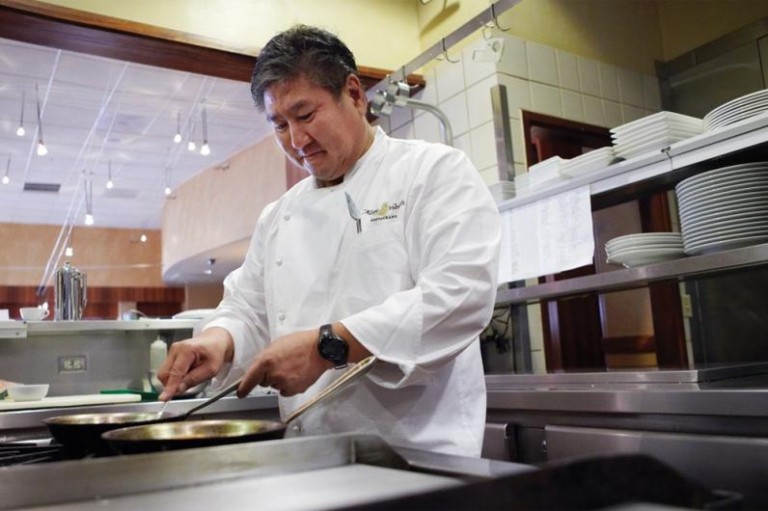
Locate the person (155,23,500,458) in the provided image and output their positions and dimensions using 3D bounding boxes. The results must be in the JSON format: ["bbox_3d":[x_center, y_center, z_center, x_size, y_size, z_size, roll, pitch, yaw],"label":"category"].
[{"bbox_3d":[-0.121,-0.154,1.370,0.820,0.996,0.494,-3,-10,12],"label":"person"}]

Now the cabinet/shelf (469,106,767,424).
[{"bbox_3d":[0.857,0.101,1.887,0.646,0.948,0.993,8,-13,-41],"label":"cabinet/shelf"}]

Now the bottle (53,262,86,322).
[{"bbox_3d":[-1.763,0.192,2.941,0.146,0.336,0.192,5,-12,-33],"label":"bottle"}]

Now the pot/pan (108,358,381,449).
[{"bbox_3d":[-0.275,0.219,0.941,0.199,0.049,0.329,-9,-5,43],"label":"pot/pan"}]

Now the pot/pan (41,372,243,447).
[{"bbox_3d":[-0.522,0.331,1.079,0.187,0.048,0.306,-8,-7,37],"label":"pot/pan"}]
